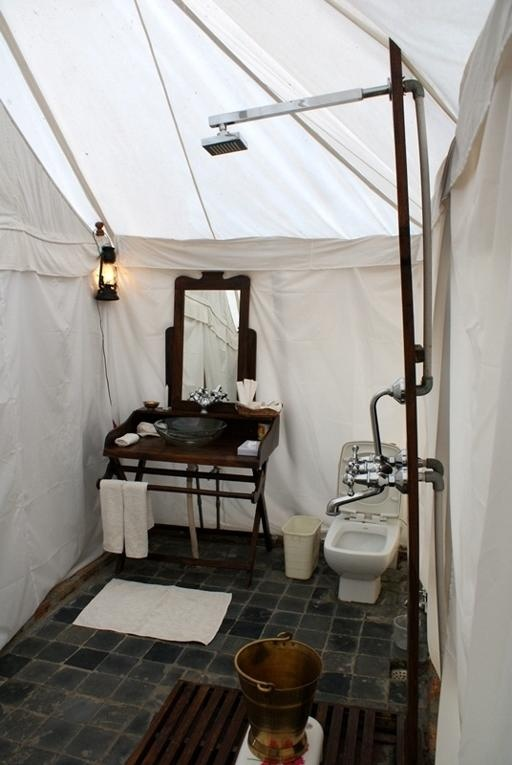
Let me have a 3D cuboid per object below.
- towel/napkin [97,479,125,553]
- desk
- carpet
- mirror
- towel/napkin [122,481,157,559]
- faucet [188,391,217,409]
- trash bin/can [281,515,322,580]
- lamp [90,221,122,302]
[{"bbox_3d":[-0.779,0.722,3.012,0.155,0.392,0.060,1,4,19],"label":"towel/napkin"},{"bbox_3d":[-0.388,0.643,3.261,0.856,0.907,0.538,2,6,12],"label":"desk"},{"bbox_3d":[-0.500,1.143,2.795,0.730,0.033,0.482,0,4,14],"label":"carpet"},{"bbox_3d":[-0.292,-0.245,3.525,0.590,1.011,0.024,2,-24,-6],"label":"mirror"},{"bbox_3d":[-0.637,0.750,2.996,0.154,0.444,0.128,-2,4,-15],"label":"towel/napkin"},{"bbox_3d":[-0.338,0.098,3.496,0.115,0.090,0.114,10,1,43],"label":"faucet"},{"bbox_3d":[0.269,0.955,3.230,0.197,0.301,0.335,0,4,12],"label":"trash bin/can"},{"bbox_3d":[-0.905,-0.746,3.443,0.125,0.469,0.278,1,4,15],"label":"lamp"}]
